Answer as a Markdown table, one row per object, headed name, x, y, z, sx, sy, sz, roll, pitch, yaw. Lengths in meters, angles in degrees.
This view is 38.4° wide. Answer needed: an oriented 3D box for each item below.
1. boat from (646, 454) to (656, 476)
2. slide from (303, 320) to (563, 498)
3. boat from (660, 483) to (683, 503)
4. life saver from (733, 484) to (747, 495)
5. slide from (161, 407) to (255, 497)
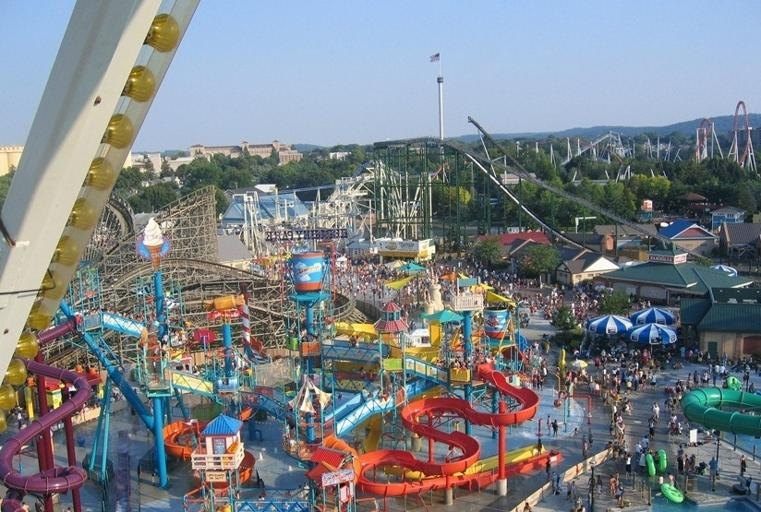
| name | x | y | z | sx | sy | sz | roll | pitch | yaw |
| --- | --- | --- | --- | --- | --- | --- | --- | --- | --- |
| boat | 10.512 | 8.049 | 42.179 | 0.297 | 0.827 | 0.715 | -2 | -4 | 33 |
| slide | 1.771 | 6.198 | 43.012 | 12.051 | 5.731 | 6.269 | -6 | -2 | 6 |
| boat | 10.894 | 8.876 | 40.747 | 0.640 | 0.611 | 0.645 | 1 | -3 | -6 |
| life saver | 13.492 | 8.667 | 40.995 | 0.258 | 0.233 | 0.504 | -3 | 2 | -4 |
| slide | -6.419 | 7.263 | 41.201 | 3.521 | 2.960 | 7.187 | 1 | -3 | -11 |
